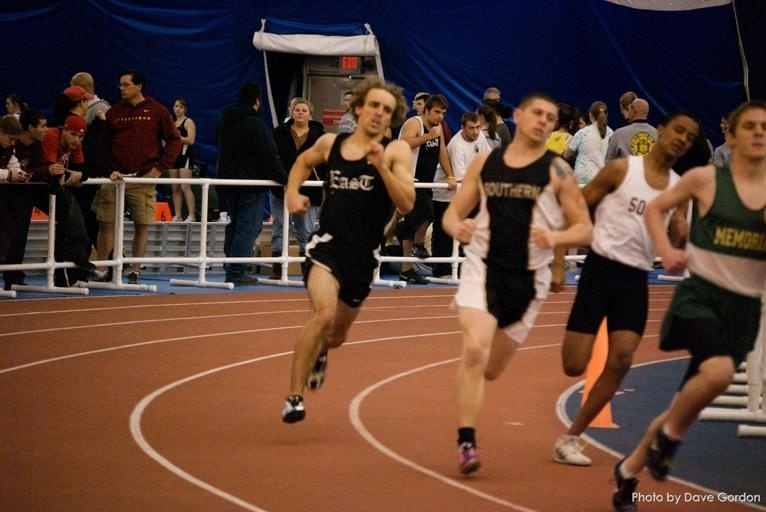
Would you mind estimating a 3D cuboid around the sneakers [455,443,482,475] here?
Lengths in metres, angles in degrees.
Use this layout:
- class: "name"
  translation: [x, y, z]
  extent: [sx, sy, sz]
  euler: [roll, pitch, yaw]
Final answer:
- class: "sneakers"
  translation: [0.533, 1.303, 4.467]
  extent: [0.115, 0.127, 0.266]
  euler: [-5, -36, -5]

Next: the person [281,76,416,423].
- class: "person"
  translation: [-0.283, -0.057, 5.648]
  extent: [1.047, 2.843, 1.264]
  euler: [-1, 5, -3]

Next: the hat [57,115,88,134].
- class: "hat"
  translation: [-4.764, -2.033, 10.808]
  extent: [0.254, 0.193, 0.362]
  euler: [1, 13, -36]

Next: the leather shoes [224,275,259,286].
- class: "leather shoes"
  translation: [-2.599, 0.455, 12.878]
  extent: [0.646, 0.255, 0.207]
  euler: [-3, 6, -15]

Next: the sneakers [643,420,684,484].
- class: "sneakers"
  translation: [1.514, 1.072, 3.842]
  extent: [0.136, 0.344, 0.159]
  euler: [1, 13, -31]

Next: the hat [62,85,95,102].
- class: "hat"
  translation: [-4.965, -2.606, 11.246]
  extent: [0.333, 0.276, 0.289]
  euler: [-3, 6, -25]

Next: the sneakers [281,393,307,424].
- class: "sneakers"
  translation: [-0.642, 1.126, 5.162]
  extent: [0.252, 0.225, 0.148]
  euler: [3, -2, -2]

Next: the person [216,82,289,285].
- class: "person"
  translation: [-2.432, -1.256, 12.357]
  extent: [0.883, 3.621, 1.217]
  euler: [-4, 7, -37]

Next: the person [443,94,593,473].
- class: "person"
  translation: [0.885, 0.187, 4.686]
  extent: [0.902, 2.549, 0.722]
  euler: [-1, 5, -7]

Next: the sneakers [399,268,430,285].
- class: "sneakers"
  translation: [0.528, 0.408, 13.716]
  extent: [0.690, 0.273, 0.229]
  euler: [5, 8, 14]

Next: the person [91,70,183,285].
- class: "person"
  translation: [-4.192, -1.283, 11.651]
  extent: [1.373, 3.557, 0.822]
  euler: [1, 5, 11]

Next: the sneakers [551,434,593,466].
- class: "sneakers"
  translation: [1.376, 1.375, 4.954]
  extent: [0.342, 0.200, 0.124]
  euler: [2, 1, 30]
